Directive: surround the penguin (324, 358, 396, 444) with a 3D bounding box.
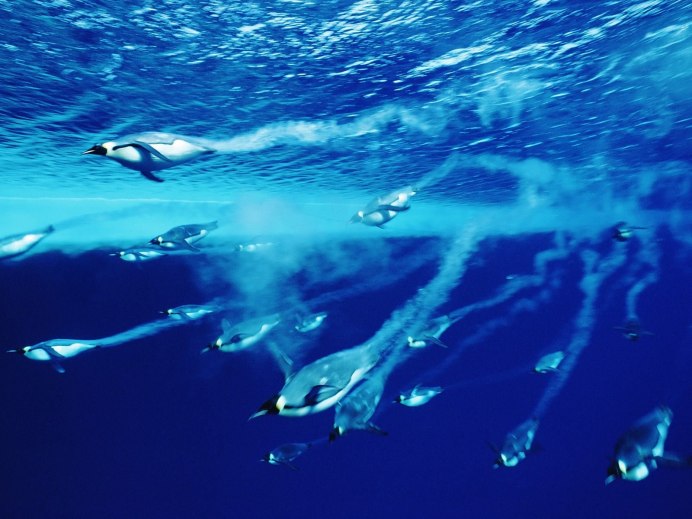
[{"bbox_3d":[0.345,2.838,11.553,1.331,0.433,1.776,0,24,29],"label":"penguin"}]

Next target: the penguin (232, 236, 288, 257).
[{"bbox_3d":[-2.546,-0.317,16.947,1.691,0.366,0.516,-3,-3,-20],"label":"penguin"}]

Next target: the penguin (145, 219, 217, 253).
[{"bbox_3d":[-3.345,-0.500,12.521,0.772,0.224,1.030,7,21,36],"label":"penguin"}]

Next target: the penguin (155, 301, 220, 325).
[{"bbox_3d":[-3.753,1.315,14.908,1.048,0.238,0.580,-8,7,-38],"label":"penguin"}]

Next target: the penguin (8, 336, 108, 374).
[{"bbox_3d":[-5.701,1.796,12.030,1.891,0.339,1.122,-6,4,-28],"label":"penguin"}]
